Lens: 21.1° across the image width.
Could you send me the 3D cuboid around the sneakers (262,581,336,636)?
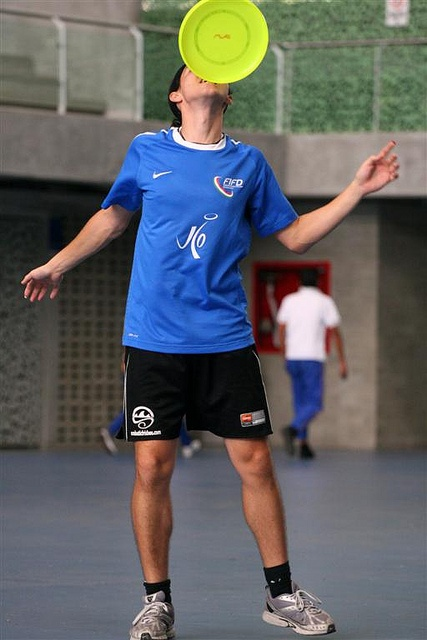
[{"bbox_3d":[0.263,0.891,3.544,0.251,0.103,0.108,0,85,40],"label":"sneakers"}]
